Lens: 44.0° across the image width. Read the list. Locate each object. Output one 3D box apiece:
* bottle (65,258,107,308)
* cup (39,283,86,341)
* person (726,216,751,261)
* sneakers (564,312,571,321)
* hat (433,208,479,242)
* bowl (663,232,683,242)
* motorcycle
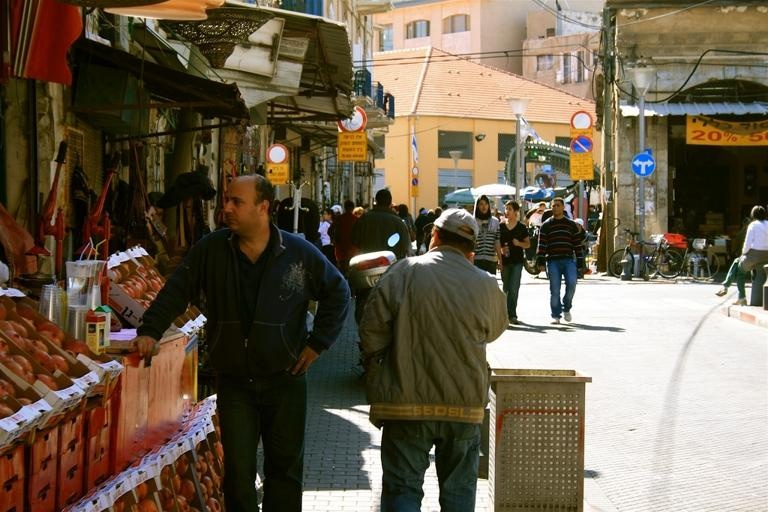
[{"bbox_3d":[-2.179,0.233,7.049,0.348,0.474,0.275,2,-7,-15],"label":"bottle"},{"bbox_3d":[-2.274,0.396,6.948,0.430,0.510,0.255,-1,0,-17],"label":"cup"},{"bbox_3d":[10.589,-0.557,28.028,0.536,1.662,0.491,3,45,19],"label":"person"},{"bbox_3d":[3.357,1.082,17.298,0.072,0.229,0.089,-9,-32,-2],"label":"sneakers"},{"bbox_3d":[0.551,-0.260,7.348,0.219,0.180,0.307,14,12,-33],"label":"hat"},{"bbox_3d":[8.179,-0.515,26.740,0.391,0.177,0.328,1,0,-2],"label":"bowl"},{"bbox_3d":[-0.159,0.306,11.886,0.679,1.080,1.747,-13,10,7],"label":"motorcycle"}]
